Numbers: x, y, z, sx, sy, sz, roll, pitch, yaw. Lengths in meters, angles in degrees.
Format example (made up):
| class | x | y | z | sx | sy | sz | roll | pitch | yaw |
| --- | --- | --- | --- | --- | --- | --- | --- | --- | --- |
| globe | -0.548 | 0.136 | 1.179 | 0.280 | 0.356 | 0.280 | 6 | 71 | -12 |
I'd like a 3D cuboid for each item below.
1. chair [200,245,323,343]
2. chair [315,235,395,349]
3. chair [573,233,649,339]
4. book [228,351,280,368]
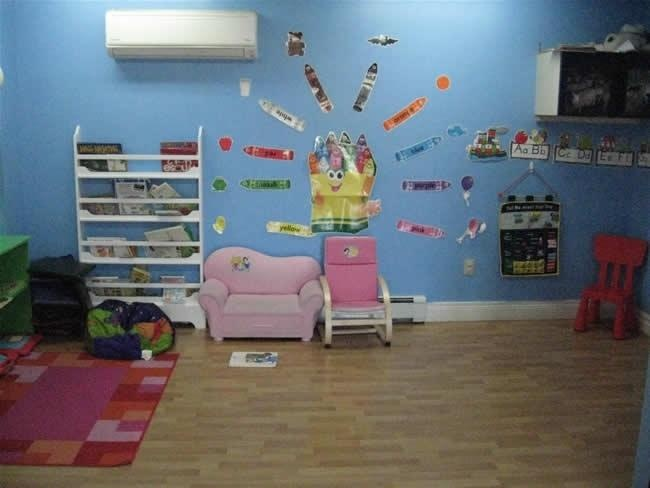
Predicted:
| class | x | y | z | sx | sy | sz | roll | pitch | yaw |
| --- | --- | --- | --- | --- | --- | --- | --- | --- | --- |
| chair | -0.592 | 0.480 | 5.212 | 1.186 | 0.715 | 0.640 | 2 | 21 | -1 |
| chair | 0.303 | 0.430 | 5.180 | 0.691 | 0.948 | 0.759 | -2 | 11 | 0 |
| chair | 2.877 | 0.396 | 5.416 | 0.526 | 0.929 | 0.683 | 6 | 13 | 35 |
| book | -0.613 | 0.997 | 4.689 | 0.410 | 0.049 | 0.280 | -2 | 11 | -2 |
